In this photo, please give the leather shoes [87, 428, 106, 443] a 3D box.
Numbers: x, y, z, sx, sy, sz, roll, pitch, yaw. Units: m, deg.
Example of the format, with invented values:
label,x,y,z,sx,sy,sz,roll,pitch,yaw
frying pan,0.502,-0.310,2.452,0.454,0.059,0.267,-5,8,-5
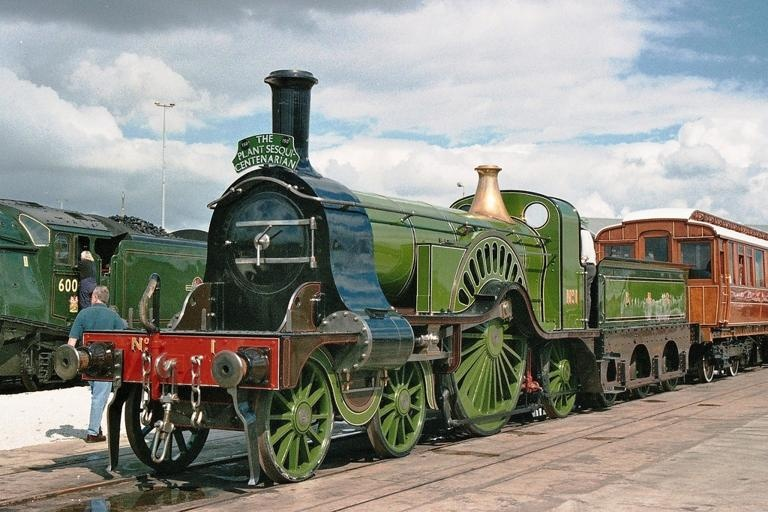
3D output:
label,x,y,z,sx,sy,sz,roll,pitch,yaw
leather shoes,-4.757,2.979,11.847,0.158,0.184,0.437,1,-1,17
